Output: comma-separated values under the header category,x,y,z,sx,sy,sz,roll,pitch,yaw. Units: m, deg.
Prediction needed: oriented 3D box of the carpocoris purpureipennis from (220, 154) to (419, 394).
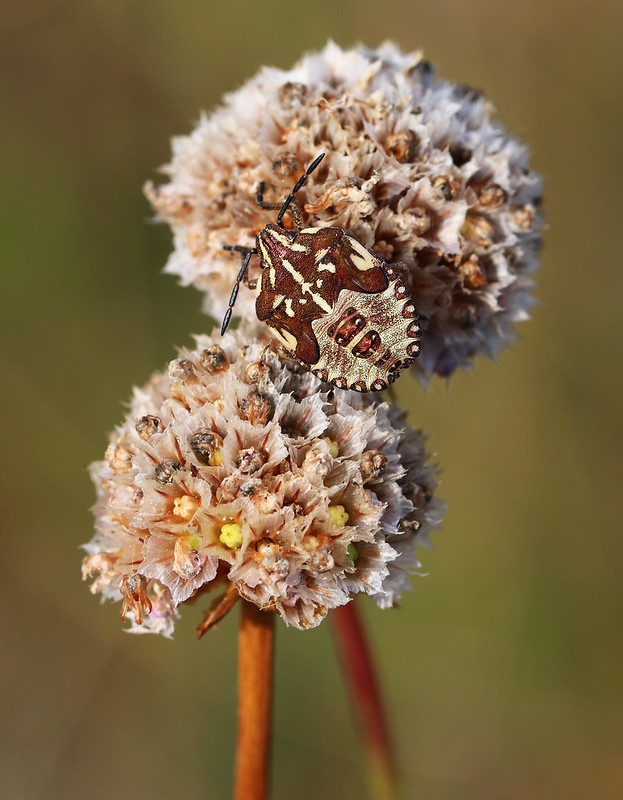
category,x,y,z,sx,sy,sz,roll,pitch,yaw
carpocoris purpureipennis,0.031,-0.256,2.042,0.308,0.332,0.394,13,-63,30
